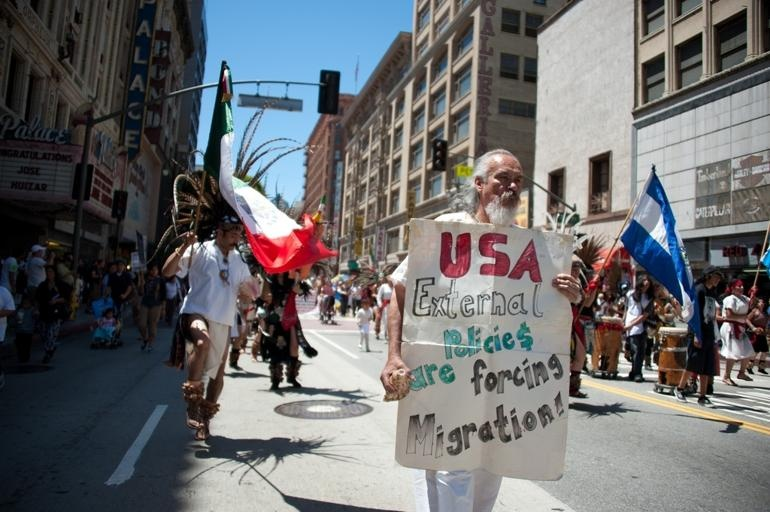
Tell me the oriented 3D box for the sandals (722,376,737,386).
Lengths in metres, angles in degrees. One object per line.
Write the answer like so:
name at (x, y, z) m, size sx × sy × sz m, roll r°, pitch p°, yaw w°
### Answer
sandals at (8.737, 3.194, 12.252) m, size 0.189 × 0.130 × 0.307 m, roll 6°, pitch -8°, yaw -26°

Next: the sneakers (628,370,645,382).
sneakers at (6.214, 3.017, 11.943) m, size 0.150 × 0.192 × 0.431 m, roll 1°, pitch -20°, yaw 15°

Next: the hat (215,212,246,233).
hat at (-2.217, -0.474, 6.910) m, size 0.311 × 0.267 × 0.246 m, roll 6°, pitch -4°, yaw 40°

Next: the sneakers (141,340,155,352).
sneakers at (-6.330, 2.418, 12.901) m, size 0.216 × 0.272 × 0.617 m, roll 13°, pitch -5°, yaw -10°

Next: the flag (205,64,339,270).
flag at (-1.927, -1.298, 7.735) m, size 0.789 × 3.077 × 2.262 m, roll -1°, pitch -8°, yaw 29°

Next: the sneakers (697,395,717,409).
sneakers at (6.314, 2.900, 9.522) m, size 0.164 × 0.143 × 0.319 m, roll 0°, pitch -11°, yaw 7°

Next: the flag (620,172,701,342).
flag at (5.010, -0.134, 8.787) m, size 1.491 × 3.100 × 0.551 m, roll 3°, pitch -7°, yaw -4°

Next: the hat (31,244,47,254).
hat at (-11.567, -0.212, 16.129) m, size 0.367 × 0.269 × 0.491 m, roll 8°, pitch 10°, yaw 22°
